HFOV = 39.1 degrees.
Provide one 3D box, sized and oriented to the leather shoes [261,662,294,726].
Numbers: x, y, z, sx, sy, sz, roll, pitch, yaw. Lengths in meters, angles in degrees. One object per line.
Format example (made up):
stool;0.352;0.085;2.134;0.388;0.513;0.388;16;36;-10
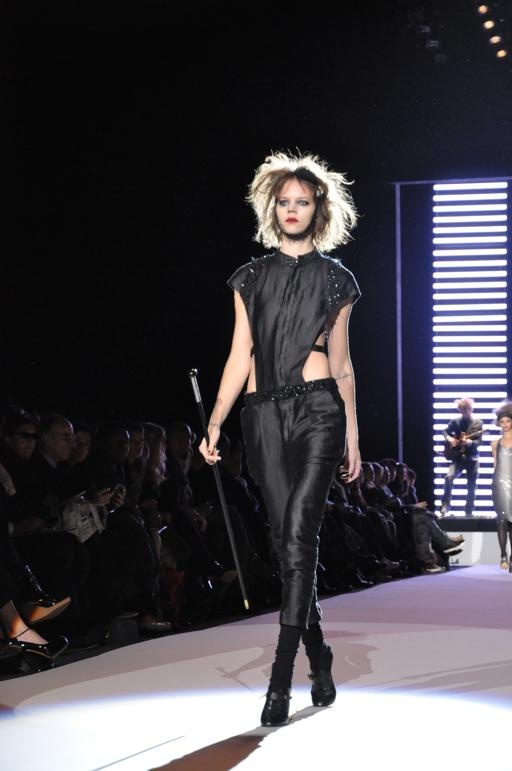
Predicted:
leather shoes;0.044;0.615;1.420;0.047;0.095;0.139;-1;-11;12

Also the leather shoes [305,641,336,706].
leather shoes;0.155;0.648;1.639;0.053;0.104;0.149;-9;24;16

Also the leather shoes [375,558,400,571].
leather shoes;0.871;1.192;4.815;0.100;0.076;0.164;4;-12;40

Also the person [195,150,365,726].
person;0.046;0.043;1.681;0.350;0.872;0.559;2;1;14
